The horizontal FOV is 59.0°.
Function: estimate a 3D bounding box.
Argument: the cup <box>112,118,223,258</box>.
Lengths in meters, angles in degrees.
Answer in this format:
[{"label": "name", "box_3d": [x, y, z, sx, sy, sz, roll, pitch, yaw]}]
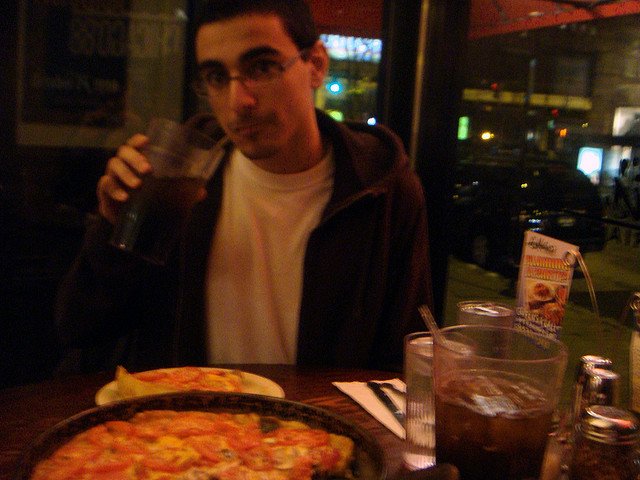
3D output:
[{"label": "cup", "box_3d": [-0.482, -0.153, 1.761, 0.313, 0.436, 0.138, 4, 11, 4]}]

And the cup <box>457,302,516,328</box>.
[{"label": "cup", "box_3d": [0.434, 0.188, 1.466, 0.080, 0.091, 0.082, 1, 2, 0]}]
